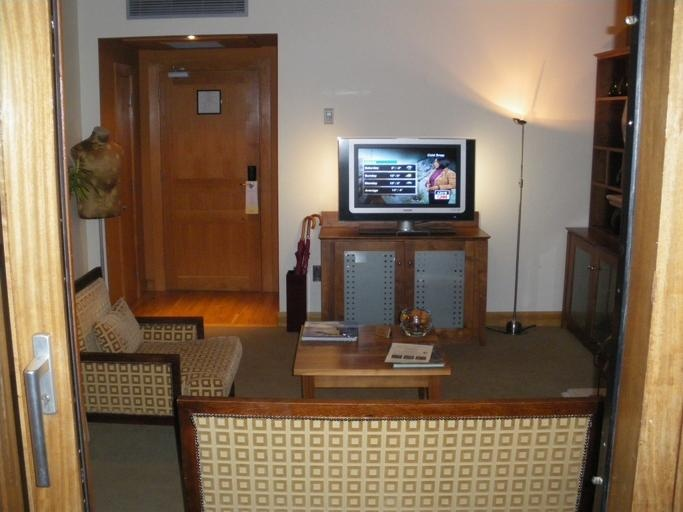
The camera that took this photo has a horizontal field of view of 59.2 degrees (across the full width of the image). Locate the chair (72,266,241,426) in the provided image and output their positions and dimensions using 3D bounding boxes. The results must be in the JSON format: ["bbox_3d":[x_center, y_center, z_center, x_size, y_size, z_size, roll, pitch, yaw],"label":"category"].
[{"bbox_3d":[-1.130,0.591,3.832,1.062,0.983,0.807,0,15,-1],"label":"chair"}]

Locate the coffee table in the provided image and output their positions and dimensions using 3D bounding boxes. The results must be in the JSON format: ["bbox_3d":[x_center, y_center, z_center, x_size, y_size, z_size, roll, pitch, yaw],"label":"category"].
[{"bbox_3d":[0.161,0.644,3.642,0.882,0.323,0.561,2,7,-3],"label":"coffee table"}]

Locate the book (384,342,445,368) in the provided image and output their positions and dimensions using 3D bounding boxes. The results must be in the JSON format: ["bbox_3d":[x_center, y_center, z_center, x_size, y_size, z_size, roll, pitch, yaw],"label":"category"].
[{"bbox_3d":[0.423,0.577,3.528,0.336,0.075,0.293,2,8,2],"label":"book"}]

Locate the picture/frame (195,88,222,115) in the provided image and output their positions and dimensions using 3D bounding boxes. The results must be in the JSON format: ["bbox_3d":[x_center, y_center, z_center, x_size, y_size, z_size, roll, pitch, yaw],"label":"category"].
[{"bbox_3d":[-1.383,-1.618,6.253,0.245,0.253,0.025,2,11,-1],"label":"picture/frame"}]

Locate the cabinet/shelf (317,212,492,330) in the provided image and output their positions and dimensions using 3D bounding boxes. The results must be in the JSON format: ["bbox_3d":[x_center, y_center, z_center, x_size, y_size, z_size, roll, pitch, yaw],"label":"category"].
[{"bbox_3d":[0.539,0.203,5.246,1.362,1.106,0.481,-1,2,6],"label":"cabinet/shelf"}]

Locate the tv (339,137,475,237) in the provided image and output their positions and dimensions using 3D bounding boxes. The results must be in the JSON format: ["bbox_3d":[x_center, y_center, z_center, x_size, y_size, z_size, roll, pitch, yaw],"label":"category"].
[{"bbox_3d":[0.556,-0.622,5.168,0.787,0.597,0.210,0,10,-1],"label":"tv"}]
